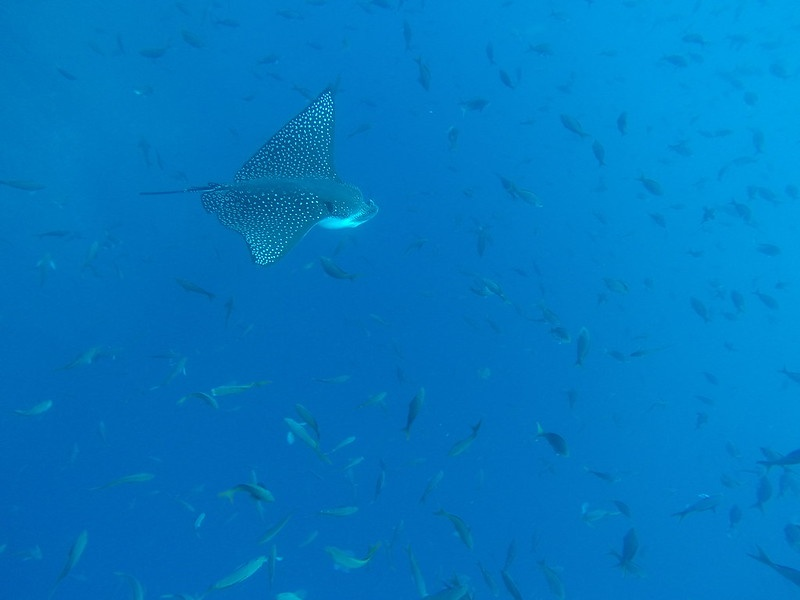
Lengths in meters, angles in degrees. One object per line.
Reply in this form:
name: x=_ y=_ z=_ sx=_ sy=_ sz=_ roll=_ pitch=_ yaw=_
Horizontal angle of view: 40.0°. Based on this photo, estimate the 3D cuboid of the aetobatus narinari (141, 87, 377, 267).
aetobatus narinari: x=-1.650 y=-1.372 z=14.056 sx=2.329 sy=2.995 sz=0.521 roll=4 pitch=34 yaw=-32
